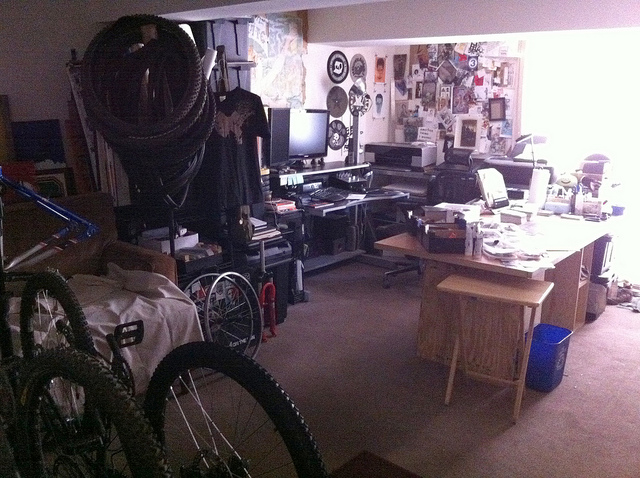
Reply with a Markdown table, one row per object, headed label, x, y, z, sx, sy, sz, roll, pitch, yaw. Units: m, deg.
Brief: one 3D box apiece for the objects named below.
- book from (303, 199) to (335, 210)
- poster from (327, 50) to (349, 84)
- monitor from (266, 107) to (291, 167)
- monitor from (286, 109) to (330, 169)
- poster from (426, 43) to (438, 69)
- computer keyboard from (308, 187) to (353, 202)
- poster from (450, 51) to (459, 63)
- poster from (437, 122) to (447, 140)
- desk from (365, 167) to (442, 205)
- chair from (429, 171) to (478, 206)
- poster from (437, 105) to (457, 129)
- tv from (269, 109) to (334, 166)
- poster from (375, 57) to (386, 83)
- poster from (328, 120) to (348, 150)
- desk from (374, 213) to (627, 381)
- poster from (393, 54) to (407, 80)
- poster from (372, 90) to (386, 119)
| label | x | y | z | sx | sy | sz | roll | pitch | yaw |
| --- | --- | --- | --- | --- | --- | --- | --- | --- | --- |
| book | -0.036 | -0.348 | 4.701 | 0.343 | 0.041 | 0.274 | 14 | 19 | 37 |
| poster | 0.200 | -1.955 | 5.392 | 0.097 | 0.357 | 0.299 | 14 | 19 | 38 |
| monitor | -0.408 | -0.988 | 4.529 | 0.064 | 0.699 | 0.398 | 17 | 27 | 31 |
| monitor | -0.170 | -1.050 | 4.919 | 0.192 | 0.566 | 0.771 | 11 | 18 | 31 |
| poster | 1.373 | -2.248 | 5.755 | 0.056 | 0.250 | 0.223 | -4 | -1 | -35 |
| computer keyboard | 0.106 | -0.470 | 4.946 | 0.391 | 0.085 | 0.405 | 8 | 16 | 22 |
| poster | 1.583 | -2.162 | 5.638 | 0.031 | 0.111 | 0.113 | -6 | 15 | -34 |
| poster | 1.507 | -1.350 | 5.900 | 0.189 | 0.268 | 0.014 | 16 | 30 | 37 |
| desk | 1.031 | -0.655 | 5.618 | 0.324 | 0.364 | 0.910 | -13 | 21 | -43 |
| chair | 1.453 | -0.563 | 5.173 | 0.350 | 0.489 | 0.368 | 6 | 9 | 26 |
| poster | 1.543 | -1.490 | 5.831 | 0.048 | 0.266 | 0.248 | -9 | 18 | -35 |
| tv | -0.193 | -1.066 | 4.875 | 0.791 | 0.481 | 0.070 | 8 | 12 | 39 |
| poster | 0.749 | -2.141 | 5.990 | 0.018 | 0.391 | 0.278 | 8 | 15 | 31 |
| poster | 0.194 | -1.201 | 5.485 | 0.274 | 0.281 | 0.074 | -7 | 11 | -41 |
| desk | 1.569 | 0.309 | 3.836 | 2.090 | 1.049 | 1.114 | -16 | 21 | -41 |
| poster | 1.015 | -2.209 | 6.104 | 0.186 | 0.303 | 0.018 | 9 | 17 | 27 |
| poster | 0.747 | -1.743 | 6.110 | 0.055 | 0.406 | 0.292 | 22 | 28 | 35 |
